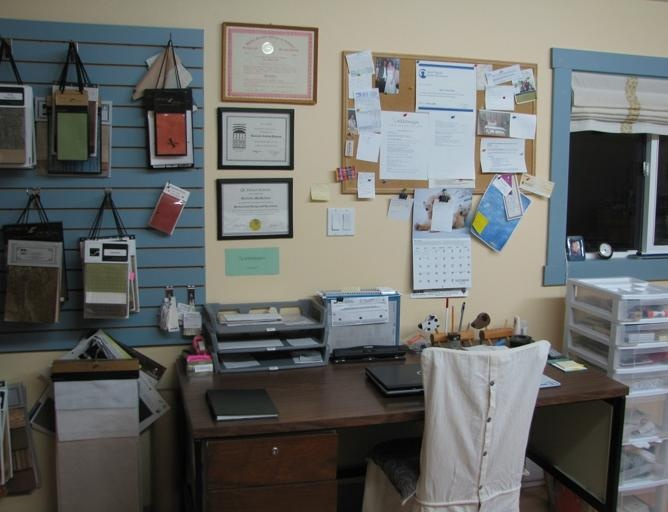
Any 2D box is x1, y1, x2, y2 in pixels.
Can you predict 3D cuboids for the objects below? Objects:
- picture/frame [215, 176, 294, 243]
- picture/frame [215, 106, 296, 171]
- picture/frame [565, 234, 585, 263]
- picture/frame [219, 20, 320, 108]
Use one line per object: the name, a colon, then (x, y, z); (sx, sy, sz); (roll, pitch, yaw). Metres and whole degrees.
picture/frame: (-0.417, -0.244, 2.945); (0.315, 0.285, 0.024); (-1, 6, -10)
picture/frame: (-0.387, -0.585, 2.931); (0.382, 0.336, 0.022); (-3, 35, -14)
picture/frame: (1.373, -0.042, 3.335); (0.115, 0.125, 0.077); (-1, 14, -8)
picture/frame: (-0.343, -0.968, 2.906); (0.424, 0.372, 0.034); (1, 2, -12)
